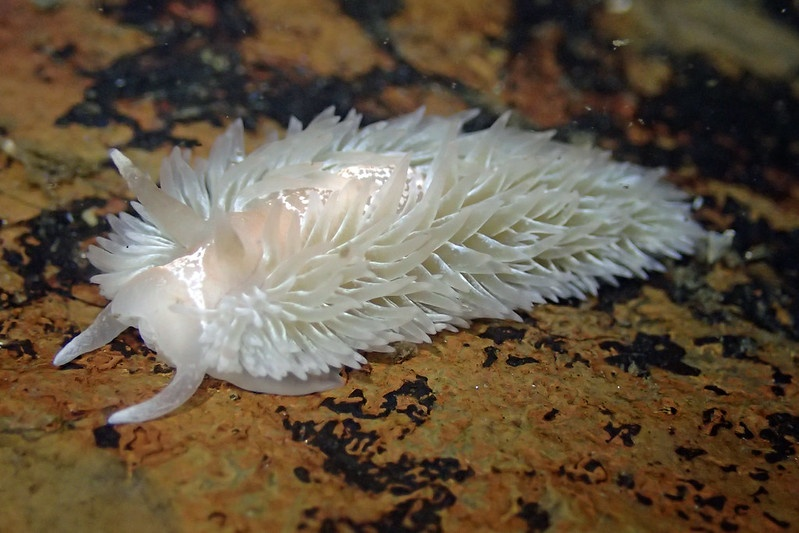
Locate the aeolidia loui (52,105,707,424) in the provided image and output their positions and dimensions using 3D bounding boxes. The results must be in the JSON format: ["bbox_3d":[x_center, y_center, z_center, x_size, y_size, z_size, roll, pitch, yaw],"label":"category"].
[{"bbox_3d":[-0.217,-0.175,4.446,2.909,0.711,1.402,-20,68,-21],"label":"aeolidia loui"}]
